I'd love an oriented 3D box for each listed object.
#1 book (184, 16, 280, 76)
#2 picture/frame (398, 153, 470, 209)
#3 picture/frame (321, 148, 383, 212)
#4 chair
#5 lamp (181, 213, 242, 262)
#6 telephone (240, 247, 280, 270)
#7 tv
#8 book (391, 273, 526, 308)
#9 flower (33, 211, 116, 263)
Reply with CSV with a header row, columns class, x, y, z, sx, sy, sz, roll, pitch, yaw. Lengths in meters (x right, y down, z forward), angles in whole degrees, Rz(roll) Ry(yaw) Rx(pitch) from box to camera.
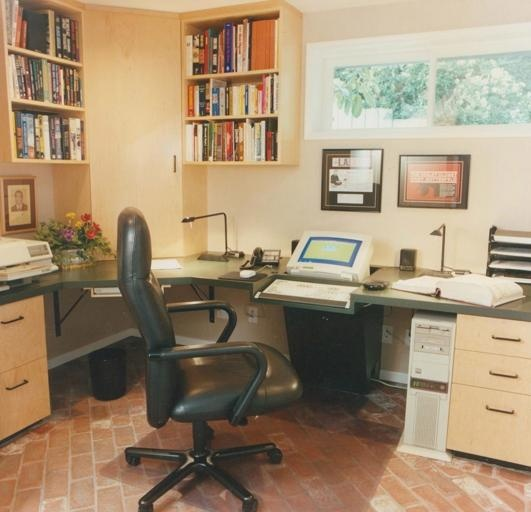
class,x,y,z,sx,sy,sz,roll,pitch,yaw
book,-0.223,-1.270,3.014,0.619,0.295,0.140,9,15,36
picture/frame,0.997,-0.443,2.863,0.371,0.273,0.026,5,13,25
picture/frame,0.553,-0.483,3.066,0.455,0.399,0.020,3,10,20
chair,-0.235,0.418,2.033,0.701,1.242,0.605,-3,14,-17
lamp,-0.372,-0.134,3.446,0.470,0.294,0.218,-2,3,16
telephone,-0.011,0.019,3.060,0.149,0.062,0.182,2,17,9
tv,0.383,0.005,2.877,0.460,0.223,0.336,5,27,29
book,0.919,0.154,2.335,0.290,0.059,0.288,-7,10,-44
flower,-1.156,-0.103,3.020,0.432,0.269,0.353,4,8,26
